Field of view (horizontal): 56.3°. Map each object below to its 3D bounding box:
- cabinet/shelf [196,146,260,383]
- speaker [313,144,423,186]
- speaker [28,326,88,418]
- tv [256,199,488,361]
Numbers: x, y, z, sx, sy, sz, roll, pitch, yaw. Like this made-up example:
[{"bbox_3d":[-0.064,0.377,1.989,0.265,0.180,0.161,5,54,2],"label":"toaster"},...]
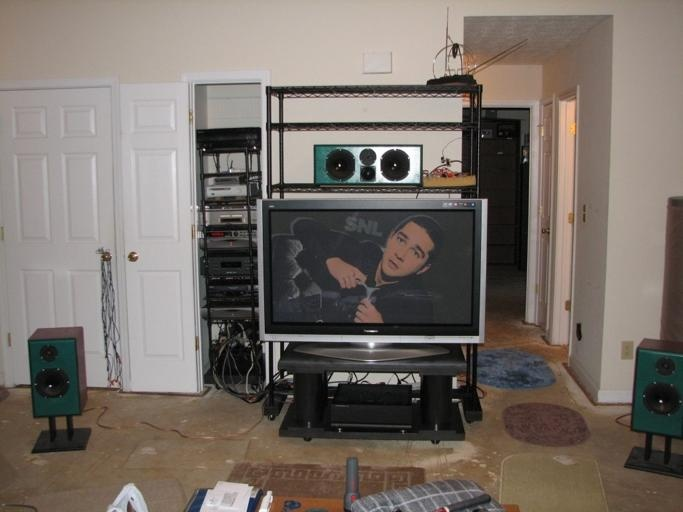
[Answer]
[{"bbox_3d":[-0.846,0.097,5.031,0.511,1.867,0.673,-2,6,1],"label":"cabinet/shelf"},{"bbox_3d":[0.179,-0.614,4.476,0.744,0.273,0.215,0,2,-2],"label":"speaker"},{"bbox_3d":[-1.884,0.792,4.300,0.314,0.529,0.273,-3,5,1],"label":"speaker"},{"bbox_3d":[0.219,0.127,4.267,1.157,0.734,0.077,0,5,4],"label":"tv"}]
